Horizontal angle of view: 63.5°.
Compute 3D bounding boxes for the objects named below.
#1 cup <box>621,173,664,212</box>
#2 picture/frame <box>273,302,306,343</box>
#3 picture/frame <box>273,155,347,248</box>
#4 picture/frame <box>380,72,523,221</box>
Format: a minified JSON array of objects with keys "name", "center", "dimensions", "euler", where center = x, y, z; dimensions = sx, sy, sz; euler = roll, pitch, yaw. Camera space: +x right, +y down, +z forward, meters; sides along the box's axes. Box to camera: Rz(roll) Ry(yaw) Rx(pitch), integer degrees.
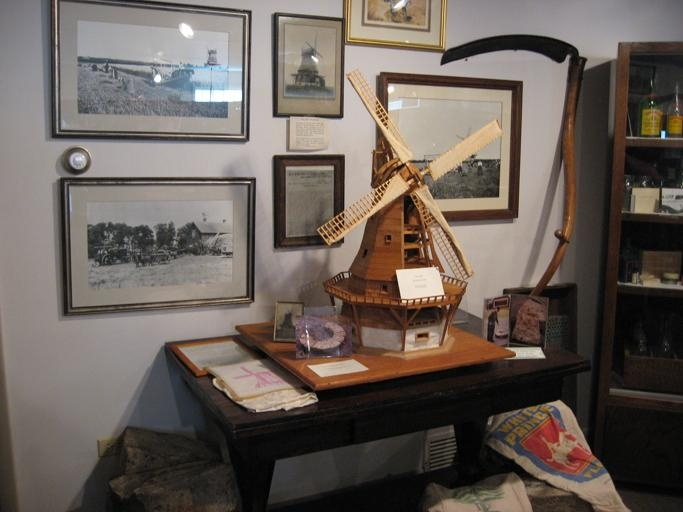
[{"name":"cup","center":[1.703,-0.355,3.130],"dimensions":[0.204,0.208,0.089],"euler":[-3,11,3]},{"name":"picture/frame","center":[-0.250,0.302,2.557],"dimensions":[0.131,0.192,0.014],"euler":[2,-24,0]},{"name":"picture/frame","center":[-0.180,-0.285,2.788],"dimensions":[0.434,0.549,0.042],"euler":[-1,7,-16]},{"name":"picture/frame","center":[0.558,-0.609,2.907],"dimensions":[0.837,0.788,0.036],"euler":[-1,12,-13]}]
